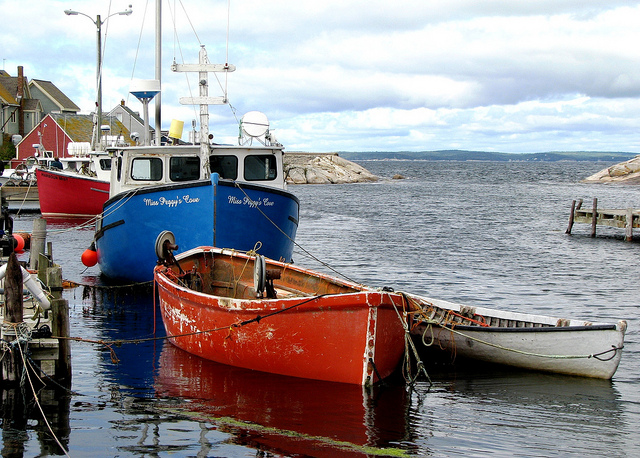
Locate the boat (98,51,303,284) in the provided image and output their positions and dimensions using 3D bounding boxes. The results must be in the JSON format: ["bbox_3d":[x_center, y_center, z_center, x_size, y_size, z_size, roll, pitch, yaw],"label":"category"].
[{"bbox_3d":[-3.409,-0.739,28.094,4.790,4.338,7.911,0,2,-13],"label":"boat"}]

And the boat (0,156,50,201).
[{"bbox_3d":[-14.652,-2.626,49.100,2.780,2.231,7.645,0,1,-19],"label":"boat"}]

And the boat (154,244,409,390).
[{"bbox_3d":[-1.062,1.836,20.949,5.915,1.620,2.749,10,11,32],"label":"boat"}]

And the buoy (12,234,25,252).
[{"bbox_3d":[-9.124,0.489,29.287,0.307,0.693,1.329,-1,13,-17],"label":"buoy"}]
